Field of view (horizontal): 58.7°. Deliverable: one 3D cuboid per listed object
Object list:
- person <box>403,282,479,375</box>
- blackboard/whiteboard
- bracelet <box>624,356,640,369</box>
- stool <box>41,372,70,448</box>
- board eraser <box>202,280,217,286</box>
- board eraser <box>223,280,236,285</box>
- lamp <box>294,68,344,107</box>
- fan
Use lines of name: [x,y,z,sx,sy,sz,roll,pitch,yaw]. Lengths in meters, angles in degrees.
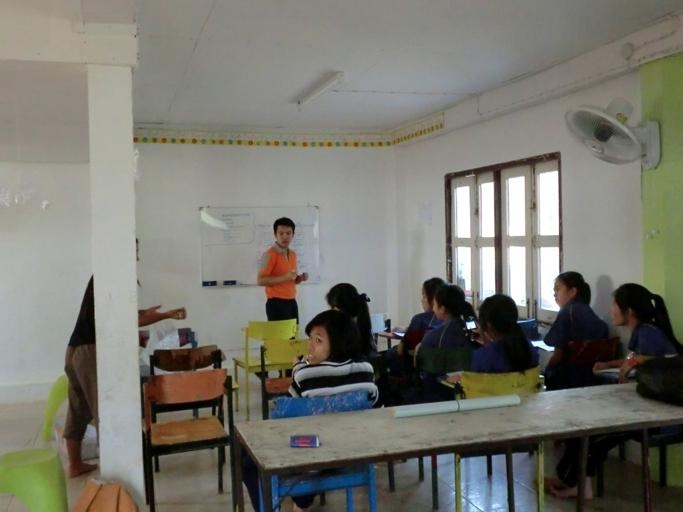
person: [0.801,0.573,4.710,0.403,1.146,0.457,11,-16,-23]
blackboard/whiteboard: [-1.045,-0.115,7.192,0.951,0.735,0.102,0,-4,-16]
bracelet: [1.864,0.684,3.901,0.099,0.100,0.076,6,-6,-34]
stool: [-2.299,1.254,4.881,0.123,0.567,0.410,7,1,-4]
board eraser: [-1.598,0.336,7.392,0.177,0.076,0.017,-5,8,-16]
board eraser: [-1.358,0.331,7.455,0.163,0.077,0.020,-6,8,-21]
lamp: [-0.225,-1.613,5.856,0.219,0.190,1.065,-6,9,-19]
fan: [1.838,-0.849,4.092,0.610,0.417,0.481,14,-10,8]
